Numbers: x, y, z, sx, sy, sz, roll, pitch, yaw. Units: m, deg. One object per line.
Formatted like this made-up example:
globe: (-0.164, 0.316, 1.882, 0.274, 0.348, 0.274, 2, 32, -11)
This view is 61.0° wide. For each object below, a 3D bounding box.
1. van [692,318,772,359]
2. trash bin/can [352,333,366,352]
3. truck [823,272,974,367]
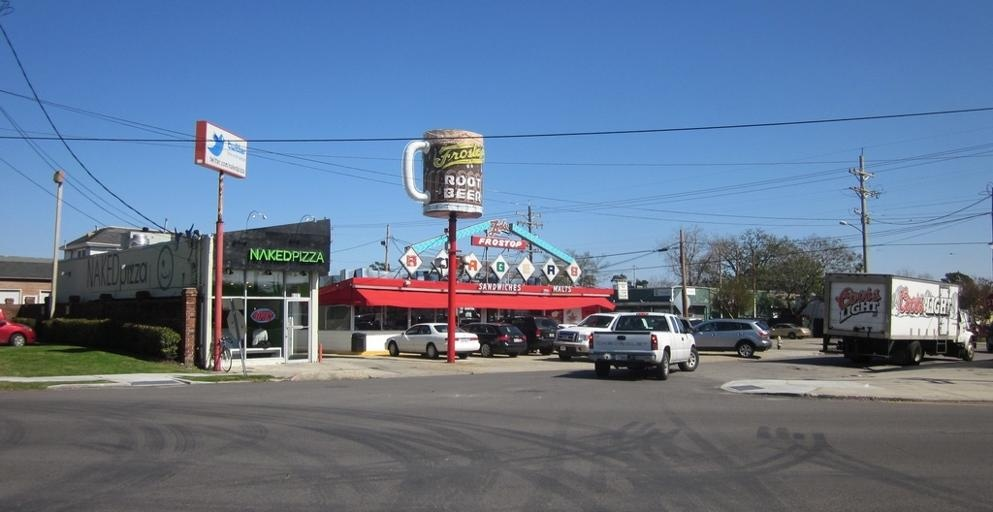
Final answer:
van: (14.197, 4.681, 50.697, 5.864, 1.817, 2.580, 2, -1, 30)
trash bin/can: (-8.525, 5.270, 52.288, 1.082, 1.217, 0.559, 2, 6, 7)
truck: (22.550, 3.595, 47.196, 9.725, 3.993, 3.990, 6, -5, -38)
